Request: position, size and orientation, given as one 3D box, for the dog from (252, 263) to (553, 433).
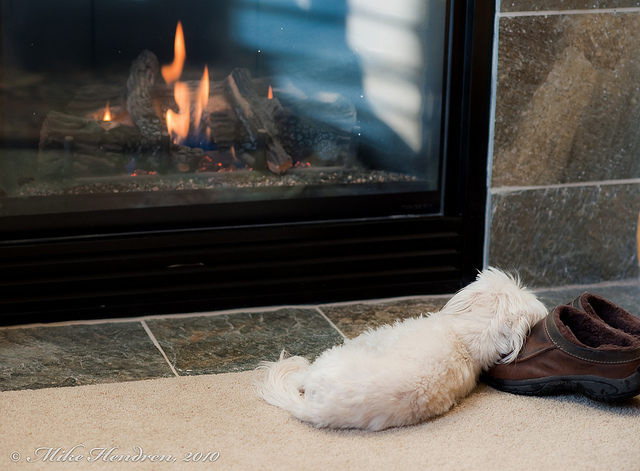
[{"bbox_3d":[0.223,0.291,1.707,0.608,0.294,0.415,-1,17,-35],"label":"dog"}]
